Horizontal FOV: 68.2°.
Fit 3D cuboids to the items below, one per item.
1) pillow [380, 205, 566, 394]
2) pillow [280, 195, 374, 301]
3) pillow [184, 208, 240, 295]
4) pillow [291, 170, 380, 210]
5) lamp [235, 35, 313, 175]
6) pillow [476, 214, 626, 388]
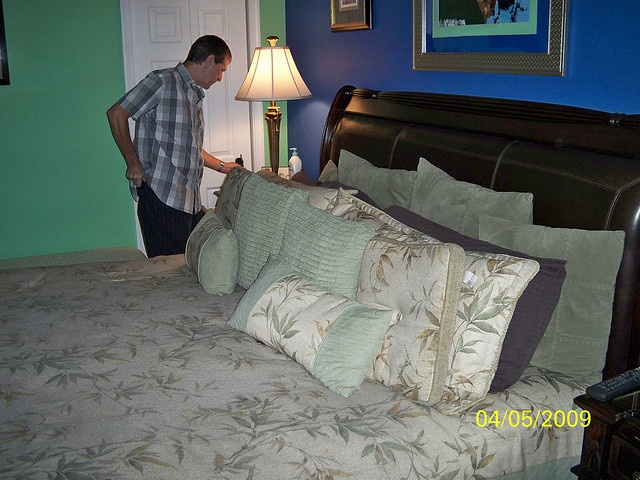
[{"bbox_3d":[0.622,0.223,1.582,0.550,0.535,0.163,28,5,30],"label":"pillow"},{"bbox_3d":[0.024,0.044,1.900,0.142,0.263,0.372,0,14,-37],"label":"pillow"},{"bbox_3d":[-0.525,0.067,2.349,0.128,0.227,0.392,-2,14,-24],"label":"pillow"},{"bbox_3d":[0.117,-0.289,2.787,0.090,0.230,0.640,-6,21,-43],"label":"pillow"},{"bbox_3d":[-0.363,-0.948,3.774,0.542,1.291,0.549,-15,25,-33],"label":"lamp"},{"bbox_3d":[0.829,0.242,1.663,0.171,0.424,0.482,4,16,-46],"label":"pillow"}]
